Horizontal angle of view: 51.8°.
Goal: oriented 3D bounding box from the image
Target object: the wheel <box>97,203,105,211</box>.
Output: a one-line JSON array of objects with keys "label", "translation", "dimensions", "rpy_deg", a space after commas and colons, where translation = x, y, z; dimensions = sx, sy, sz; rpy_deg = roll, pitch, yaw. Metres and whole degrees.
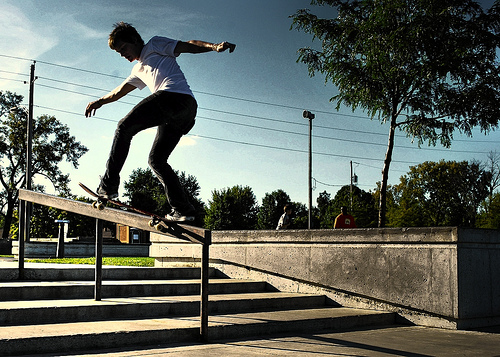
[{"label": "wheel", "translation": [-2.416, 0.459, 8.392], "dimensions": [0.096, 0.104, 0.103], "rpy_deg": [6, 1, 0]}]

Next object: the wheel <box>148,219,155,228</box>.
[{"label": "wheel", "translation": [-1.571, 0.708, 8.238], "dimensions": [0.119, 0.128, 0.033], "rpy_deg": [0, 1, 15]}]

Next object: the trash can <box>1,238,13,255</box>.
[{"label": "trash can", "translation": [-13.577, 3.808, 28.754], "dimensions": [0.405, 0.800, 0.784], "rpy_deg": [0, 1, 5]}]

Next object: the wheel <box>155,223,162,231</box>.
[{"label": "wheel", "translation": [-1.461, 0.772, 8.235], "dimensions": [0.107, 0.100, 0.078], "rpy_deg": [17, -16, -42]}]

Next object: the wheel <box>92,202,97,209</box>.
[{"label": "wheel", "translation": [-2.576, 0.443, 8.538], "dimensions": [0.098, 0.105, 0.026], "rpy_deg": [3, 4, 43]}]
